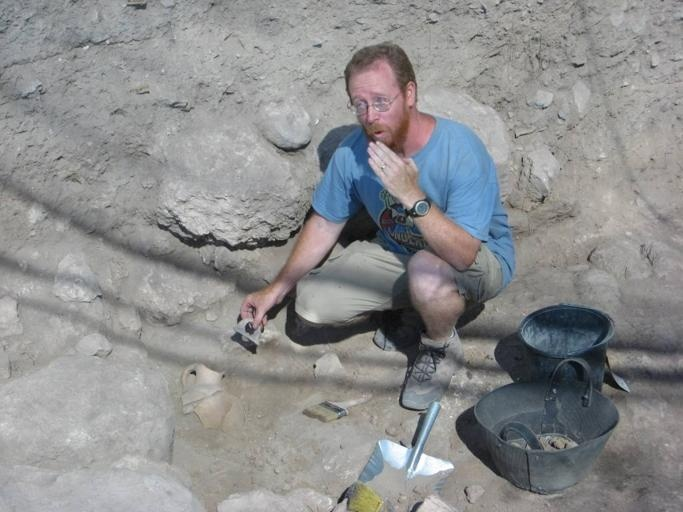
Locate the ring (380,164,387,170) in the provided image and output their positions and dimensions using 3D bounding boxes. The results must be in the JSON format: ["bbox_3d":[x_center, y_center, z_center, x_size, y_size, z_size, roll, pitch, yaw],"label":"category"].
[{"bbox_3d":[0.202,-0.442,4.256,0.028,0.022,0.017,8,46,15],"label":"ring"}]

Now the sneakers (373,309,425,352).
[{"bbox_3d":[0.321,0.435,4.842,0.181,0.105,0.272,21,43,28],"label":"sneakers"}]

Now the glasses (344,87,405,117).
[{"bbox_3d":[0.171,-0.764,4.349,0.253,0.122,0.081,-1,44,7],"label":"glasses"}]

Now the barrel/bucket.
[{"bbox_3d":[1.143,0.446,4.346,0.423,0.400,0.407,-18,21,7],"label":"barrel/bucket"}]

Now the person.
[{"bbox_3d":[0.276,-0.166,4.497,1.177,1.435,1.021,16,49,23],"label":"person"}]

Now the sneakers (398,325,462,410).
[{"bbox_3d":[0.486,0.573,4.556,0.202,0.245,0.539,2,33,34],"label":"sneakers"}]

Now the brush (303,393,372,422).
[{"bbox_3d":[-0.027,0.769,4.477,0.306,0.095,0.265,-8,18,-30],"label":"brush"}]
